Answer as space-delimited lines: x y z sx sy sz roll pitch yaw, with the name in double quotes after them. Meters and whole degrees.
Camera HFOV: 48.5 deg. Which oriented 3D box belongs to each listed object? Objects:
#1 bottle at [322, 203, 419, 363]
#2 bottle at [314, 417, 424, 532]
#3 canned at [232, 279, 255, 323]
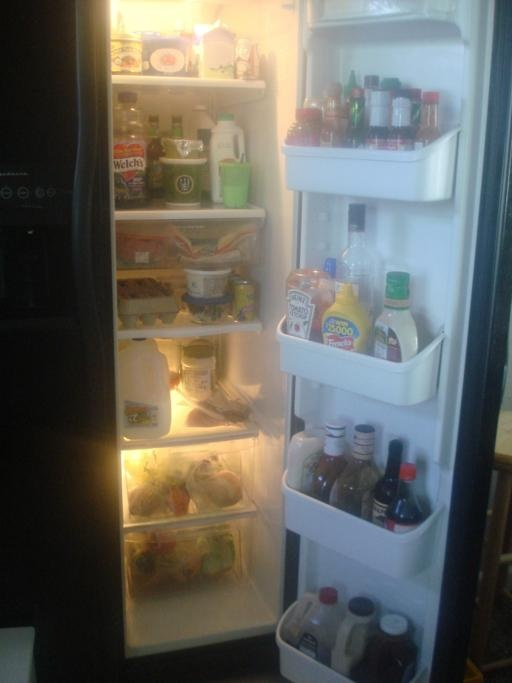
0.209 -0.097 1.016 0.200 0.360 0.085 13 21 39 "bottle"
0.217 0.258 1.076 0.065 0.200 0.186 1 7 -31 "bottle"
-0.034 -0.106 1.447 0.069 0.144 0.077 2 16 6 "canned"
